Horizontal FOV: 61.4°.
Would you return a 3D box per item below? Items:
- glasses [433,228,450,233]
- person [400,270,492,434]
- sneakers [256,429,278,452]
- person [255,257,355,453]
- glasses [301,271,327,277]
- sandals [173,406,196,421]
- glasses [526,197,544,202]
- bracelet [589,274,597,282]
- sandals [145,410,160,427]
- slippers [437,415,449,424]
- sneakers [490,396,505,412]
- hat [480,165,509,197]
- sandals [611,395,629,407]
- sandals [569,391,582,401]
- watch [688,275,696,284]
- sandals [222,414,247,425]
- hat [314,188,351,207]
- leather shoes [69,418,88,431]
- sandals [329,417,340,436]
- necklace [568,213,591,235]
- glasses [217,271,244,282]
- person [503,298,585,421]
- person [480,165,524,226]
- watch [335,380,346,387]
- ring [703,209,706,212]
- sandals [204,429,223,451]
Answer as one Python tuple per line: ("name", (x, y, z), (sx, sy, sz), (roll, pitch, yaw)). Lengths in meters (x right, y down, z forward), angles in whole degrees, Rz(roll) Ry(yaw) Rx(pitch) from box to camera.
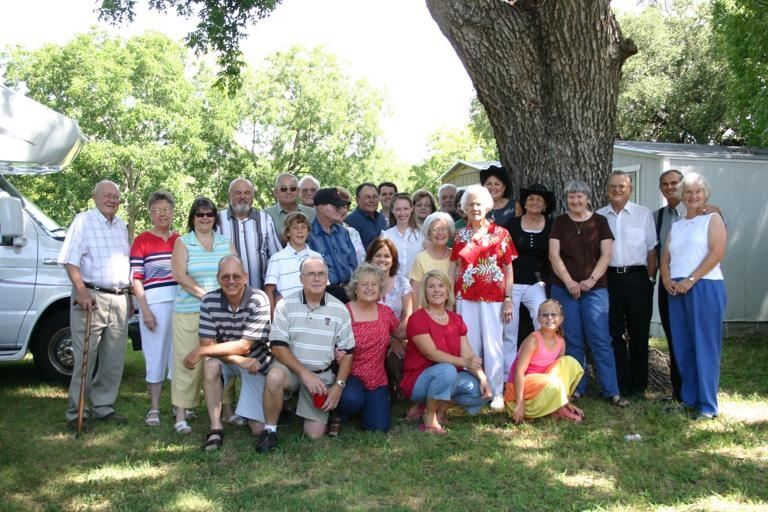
("glasses", (0.676, -0.290, 7.594), (0.170, 0.037, 0.016), (-2, 15, -5))
("person", (0.651, 1.055, 7.211), (0.807, 1.679, 0.702), (-7, 16, -22))
("sneakers", (-1.219, 1.941, 6.740), (0.143, 0.103, 0.232), (12, 28, -3))
("person", (-0.824, 1.117, 6.953), (1.090, 1.655, 0.744), (-5, 15, -14))
("glasses", (-0.752, 0.199, 6.912), (0.257, 0.060, 0.069), (-2, 14, -4))
("sandals", (-2.342, 1.852, 7.627), (0.152, 0.181, 0.441), (3, -10, -6))
("glasses", (1.832, -0.695, 7.851), (0.194, 0.085, 0.063), (0, 14, 5))
("bracelet", (2.500, 0.273, 7.692), (0.118, 0.078, 0.073), (0, 14, 3))
("sandals", (-2.678, 1.884, 7.495), (0.093, 0.068, 0.247), (1, 16, -19))
("slippers", (0.671, 1.861, 7.375), (0.082, 0.123, 0.133), (2, -8, -3))
("sneakers", (1.321, 1.719, 7.525), (0.170, 0.215, 0.167), (-4, -12, 3))
("hat", (1.448, -0.999, 8.275), (0.358, 0.155, 0.413), (-3, -35, 9))
("sandals", (2.795, 1.721, 7.679), (0.254, 0.102, 0.094), (-3, 13, 43))
("sandals", (2.315, 1.695, 7.838), (0.090, 0.074, 0.226), (25, 15, 20))
("watch", (3.485, 0.269, 7.333), (0.039, 0.101, 0.092), (18, -13, -41))
("sandals", (-1.709, 1.881, 7.471), (0.302, 0.095, 0.121), (-3, 3, 29))
("hat", (-0.624, -0.701, 7.890), (0.413, 0.208, 0.264), (3, 8, 2))
("leather shoes", (-3.460, 1.897, 7.316), (0.135, 0.079, 0.167), (0, 0, -9))
("sandals", (-0.541, 1.874, 7.093), (0.079, 0.085, 0.214), (4, 16, -2))
("necklace", (2.356, -0.371, 7.789), (0.277, 0.238, 0.008), (-1, -8, 12))
("glasses", (-1.629, 0.222, 6.905), (0.252, 0.098, 0.084), (-4, 15, -13))
("person", (1.810, 1.196, 7.329), (0.869, 1.296, 0.529), (1, 15, 8))
("person", (1.459, -0.653, 8.277), (0.584, 0.895, 0.499), (7, 3, -4))
("watch", (-0.462, 1.383, 6.998), (0.086, 0.059, 0.095), (-1, -17, 30))
("ring", (3.665, -0.516, 7.392), (0.030, 0.028, 0.029), (0, -4, 0))
("sandals", (-1.795, 1.930, 6.820), (0.178, 0.167, 0.294), (-2, 14, -4))
